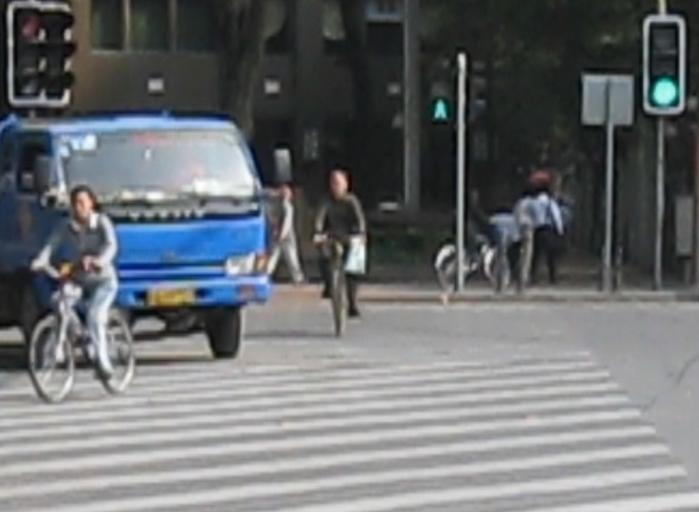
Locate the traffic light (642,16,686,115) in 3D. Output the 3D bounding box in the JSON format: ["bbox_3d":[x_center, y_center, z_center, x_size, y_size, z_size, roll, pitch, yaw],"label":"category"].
[{"bbox_3d":[4.741,-2.779,22.714,0.638,1.458,1.199,1,5,11],"label":"traffic light"}]

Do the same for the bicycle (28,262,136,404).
[{"bbox_3d":[-2.694,0.851,14.203,0.706,0.969,1.492,-3,-9,13],"label":"bicycle"}]

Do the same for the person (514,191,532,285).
[{"bbox_3d":[2.992,-0.203,26.127,0.328,1.622,0.799,3,3,6],"label":"person"}]

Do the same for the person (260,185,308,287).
[{"bbox_3d":[-1.256,-0.339,27.932,0.795,1.735,0.816,5,15,5],"label":"person"}]

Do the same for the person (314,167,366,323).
[{"bbox_3d":[-0.134,-0.179,19.425,0.628,1.833,0.644,12,21,37],"label":"person"}]

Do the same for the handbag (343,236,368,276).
[{"bbox_3d":[0.060,0.010,19.121,0.377,0.759,0.390,1,4,1],"label":"handbag"}]

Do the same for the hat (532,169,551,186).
[{"bbox_3d":[3.850,-1.526,30.532,0.444,0.355,0.566,1,3,7],"label":"hat"}]
